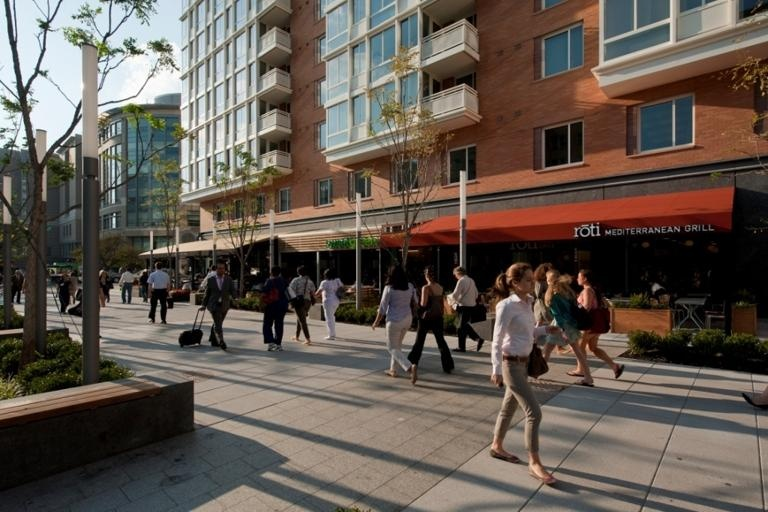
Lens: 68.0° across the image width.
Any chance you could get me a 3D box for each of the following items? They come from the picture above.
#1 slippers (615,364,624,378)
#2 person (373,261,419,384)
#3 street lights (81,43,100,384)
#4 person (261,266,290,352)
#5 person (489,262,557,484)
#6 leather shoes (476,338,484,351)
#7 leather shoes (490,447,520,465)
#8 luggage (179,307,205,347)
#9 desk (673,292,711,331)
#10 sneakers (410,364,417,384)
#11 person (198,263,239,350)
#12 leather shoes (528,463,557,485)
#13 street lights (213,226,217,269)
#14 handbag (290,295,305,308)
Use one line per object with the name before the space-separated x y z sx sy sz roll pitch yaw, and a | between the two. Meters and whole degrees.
slippers | 5.316 2.625 12.838 0.127 0.357 0.189 13 -3 15
person | 0.308 1.556 13.166 0.921 2.658 1.089 -1 -1 3
street lights | -5.561 -0.823 10.815 0.270 6.502 0.437 0 -1 -28
person | -2.980 1.460 15.693 0.687 2.253 0.744 -1 -1 4
person | 2.419 2.039 10.272 1.006 3.778 0.987 -1 -1 10
leather shoes | 2.628 2.434 15.476 0.137 0.396 0.160 12 -19 -32
leather shoes | 2.157 3.585 10.152 0.482 0.129 0.222 -3 -6 29
luggage | -6.023 2.297 17.936 0.472 1.305 0.850 -2 -15 21
desk | 9.857 1.767 18.268 0.982 0.990 2.652 -1 -2 28
sneakers | 0.667 2.663 12.685 0.134 0.431 0.202 -1 -1 1
person | -4.618 1.395 15.994 0.859 2.383 1.178 0 -1 -16
leather shoes | 2.741 3.756 9.758 0.206 0.244 0.565 7 -10 -31
street lights | -8.516 -0.562 28.649 0.084 1.945 0.870 0 -1 -20
handbag | -2.379 1.314 16.011 0.343 0.279 0.326 13 -11 -42
